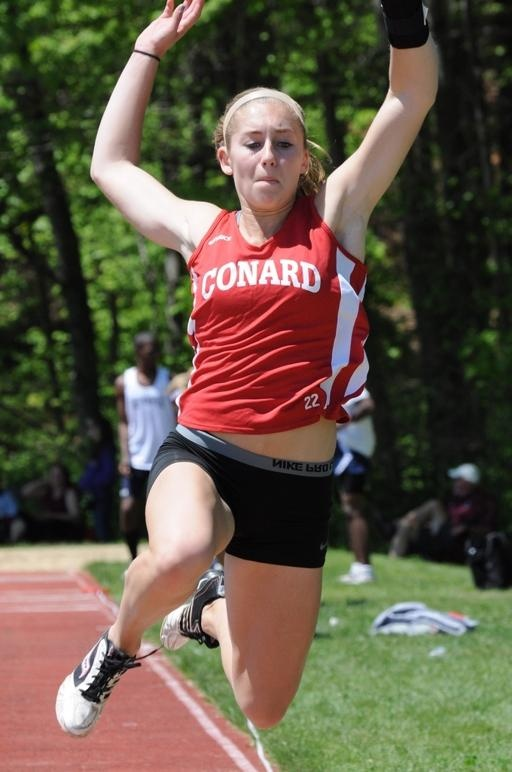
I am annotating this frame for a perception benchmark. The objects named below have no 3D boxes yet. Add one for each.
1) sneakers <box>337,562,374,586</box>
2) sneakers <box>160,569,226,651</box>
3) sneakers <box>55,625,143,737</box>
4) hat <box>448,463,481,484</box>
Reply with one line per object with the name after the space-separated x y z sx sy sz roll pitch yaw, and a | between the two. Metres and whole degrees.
0.893 1.617 7.348 0.317 0.175 0.144 -1 0 21 | sneakers
-0.196 0.802 2.836 0.139 0.295 0.101 11 38 21 | sneakers
-0.402 0.759 2.138 0.284 0.276 0.114 -8 -5 41 | sneakers
2.198 0.931 8.853 0.234 0.191 0.439 -5 -4 6 | hat
